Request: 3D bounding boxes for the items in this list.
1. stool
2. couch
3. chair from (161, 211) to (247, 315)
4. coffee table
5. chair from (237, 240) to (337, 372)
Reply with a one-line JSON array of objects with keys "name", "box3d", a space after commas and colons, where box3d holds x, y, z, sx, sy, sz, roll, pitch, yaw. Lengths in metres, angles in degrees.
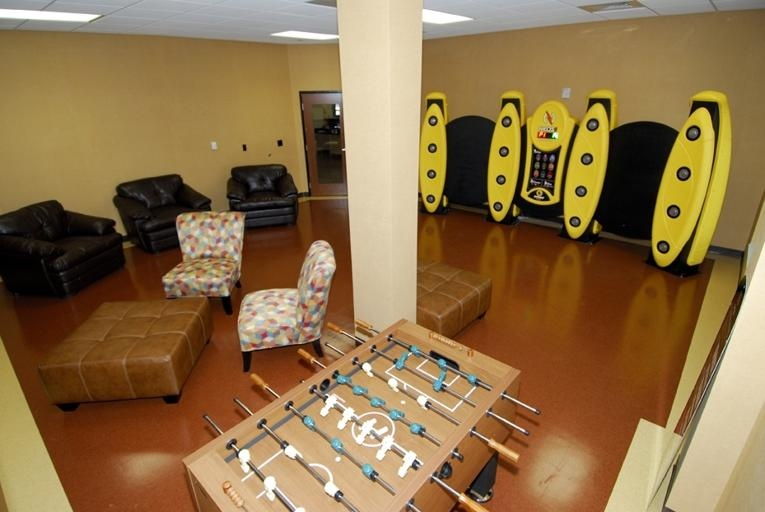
[{"name": "stool", "box3d": [0.780, 0.503, 6.006, 0.793, 0.478, 0.829, 23, 40, 30]}, {"name": "couch", "box3d": [-2.288, -1.160, 9.489, 1.216, 0.992, 1.220, -9, 22, -15]}, {"name": "chair", "box3d": [-2.350, 0.060, 6.648, 0.865, 1.196, 0.979, 1, 15, 3]}, {"name": "coffee table", "box3d": [-2.716, 1.008, 5.393, 1.116, 0.549, 1.245, -5, 39, 4]}, {"name": "chair", "box3d": [-1.130, 0.540, 5.916, 1.114, 1.278, 0.899, -5, 26, -12]}]
